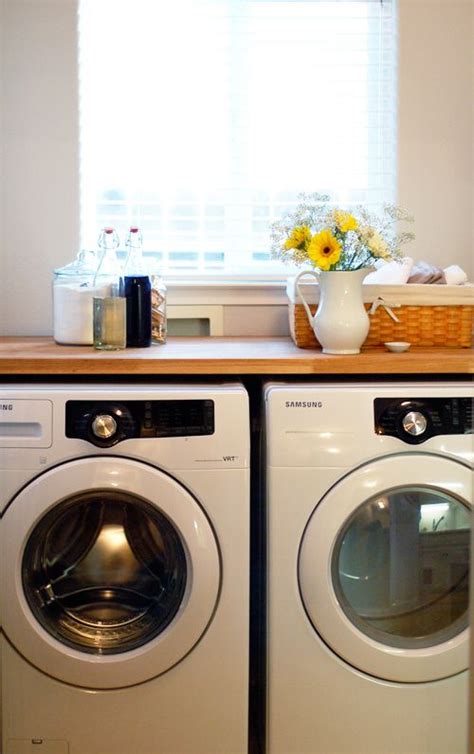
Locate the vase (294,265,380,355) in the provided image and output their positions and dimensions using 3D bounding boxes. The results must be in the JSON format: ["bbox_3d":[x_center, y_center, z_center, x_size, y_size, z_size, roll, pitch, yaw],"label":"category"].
[{"bbox_3d":[0.219,-0.153,1.610,0.184,0.200,0.127,0,-3,14],"label":"vase"}]

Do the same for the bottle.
[{"bbox_3d":[-0.346,-0.209,1.840,0.298,0.338,0.298,1,-1,35],"label":"bottle"}]

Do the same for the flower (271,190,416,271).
[{"bbox_3d":[0.234,-0.328,1.692,0.318,0.194,0.320,10,4,2],"label":"flower"}]

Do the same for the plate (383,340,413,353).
[{"bbox_3d":[0.374,-0.071,1.629,0.052,0.022,0.112,-1,8,12],"label":"plate"}]
